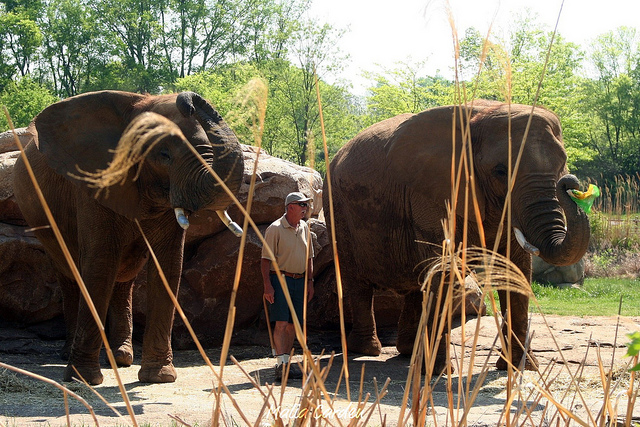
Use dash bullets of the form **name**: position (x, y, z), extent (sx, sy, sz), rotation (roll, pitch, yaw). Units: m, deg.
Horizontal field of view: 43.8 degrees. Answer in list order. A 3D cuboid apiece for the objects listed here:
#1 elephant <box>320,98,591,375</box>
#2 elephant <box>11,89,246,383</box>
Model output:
- **elephant**: position (1.720, 0.298, 10.008), extent (2.380, 3.295, 4.258), rotation (-1, -4, -36)
- **elephant**: position (-2.376, 0.330, 9.875), extent (2.216, 3.577, 4.486), rotation (-3, -1, -42)
